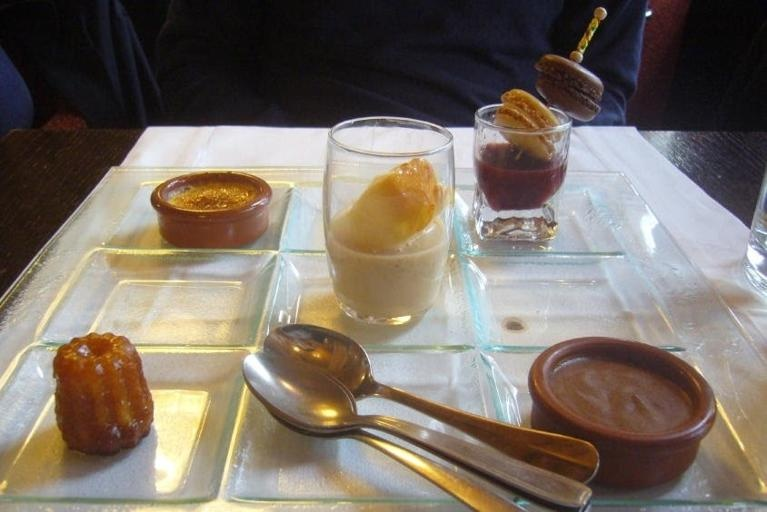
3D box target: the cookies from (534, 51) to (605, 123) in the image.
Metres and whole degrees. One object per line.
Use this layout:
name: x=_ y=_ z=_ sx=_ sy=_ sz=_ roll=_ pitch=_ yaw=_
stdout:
cookies: x=0.371 y=-0.344 z=1.113 sx=0.153 sy=0.119 sz=0.084 roll=32 pitch=94 yaw=16

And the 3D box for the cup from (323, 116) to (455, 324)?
cup: x=0.007 y=-0.063 z=0.920 sx=0.237 sy=0.270 sz=0.277 roll=10 pitch=45 yaw=6

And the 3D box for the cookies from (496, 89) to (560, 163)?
cookies: x=0.300 y=-0.280 z=1.130 sx=0.113 sy=0.075 sz=0.154 roll=49 pitch=15 yaw=-1
